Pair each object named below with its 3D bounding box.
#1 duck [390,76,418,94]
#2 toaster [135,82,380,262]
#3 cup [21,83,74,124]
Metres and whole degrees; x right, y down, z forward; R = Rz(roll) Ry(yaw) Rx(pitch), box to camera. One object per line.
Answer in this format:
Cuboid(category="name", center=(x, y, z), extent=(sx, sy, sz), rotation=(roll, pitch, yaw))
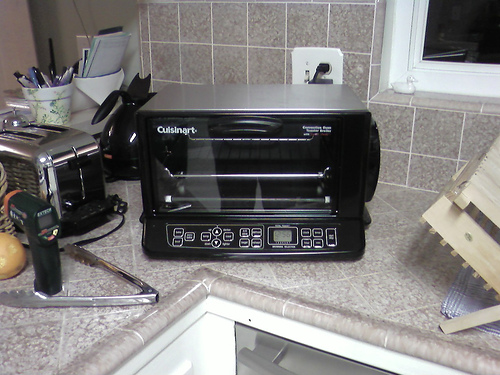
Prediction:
Cuboid(category="duck", center=(0.556, -0.370, 1.426), extent=(0.084, 0.059, 0.049), rotation=(3, 30, 10))
Cuboid(category="toaster", center=(0.028, -0.082, 1.334), extent=(0.735, 0.463, 0.544), rotation=(0, 23, 2))
Cuboid(category="cup", center=(-0.750, -0.308, 1.480), extent=(0.181, 0.136, 0.166), rotation=(1, 12, 0))
